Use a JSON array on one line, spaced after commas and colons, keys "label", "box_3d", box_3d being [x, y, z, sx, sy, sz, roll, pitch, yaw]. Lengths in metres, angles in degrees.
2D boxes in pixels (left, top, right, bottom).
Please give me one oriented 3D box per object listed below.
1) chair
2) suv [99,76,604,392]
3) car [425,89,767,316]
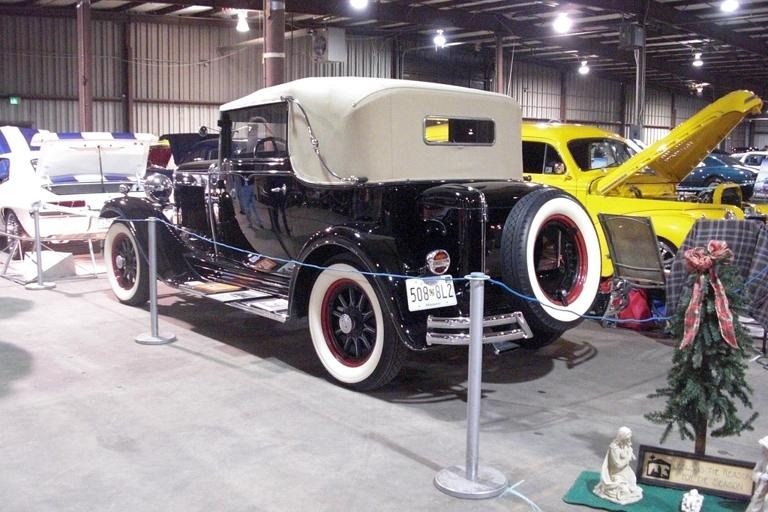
[{"label": "chair", "box_3d": [2.594, 0.254, 6.467, 0.763, 1.394, 1.089, 4, 14, 14]}, {"label": "suv", "box_3d": [-0.171, -0.323, 5.883, 4.070, 2.635, 1.807, 8, 16, 28]}, {"label": "car", "box_3d": [2.412, -0.970, 8.862, 4.638, 2.330, 2.542, 8, 13, 37]}]
